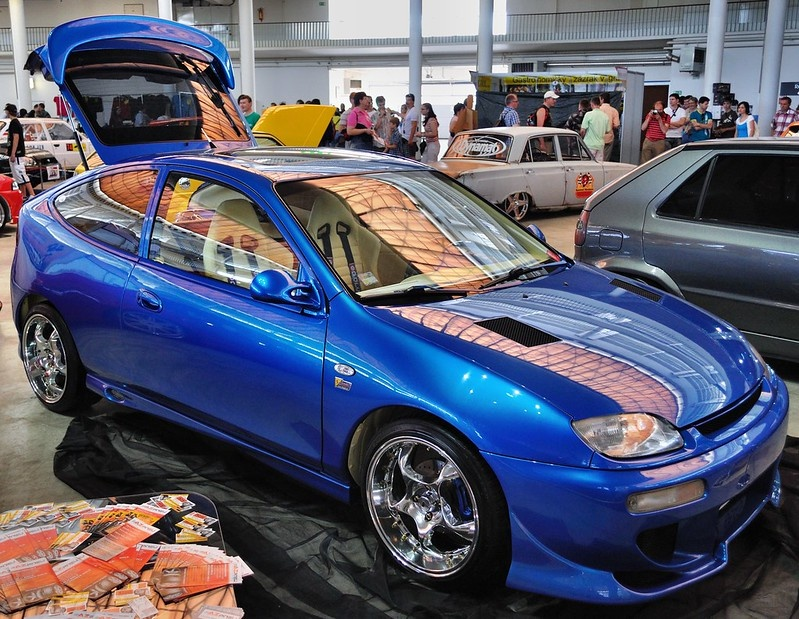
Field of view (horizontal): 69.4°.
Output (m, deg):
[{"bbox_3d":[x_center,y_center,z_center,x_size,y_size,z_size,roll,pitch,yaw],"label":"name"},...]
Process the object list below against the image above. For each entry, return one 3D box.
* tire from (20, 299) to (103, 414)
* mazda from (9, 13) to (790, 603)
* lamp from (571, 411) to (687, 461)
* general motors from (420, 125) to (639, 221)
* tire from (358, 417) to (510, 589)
[{"bbox_3d":[-2.288,0.295,3.944,0.677,0.619,0.272,37,46,20],"label":"tire"},{"bbox_3d":[-0.363,-0.290,3.903,5.069,2.132,2.356,10,21,33],"label":"mazda"},{"bbox_3d":[0.844,0.469,2.141,0.284,0.064,0.217,-4,24,-3],"label":"lamp"},{"bbox_3d":[2.486,-2.897,12.075,4.909,1.361,2.448,-8,15,-30],"label":"general motors"},{"bbox_3d":[0.166,0.801,2.417,0.247,0.611,0.635,-25,62,-35],"label":"tire"}]
